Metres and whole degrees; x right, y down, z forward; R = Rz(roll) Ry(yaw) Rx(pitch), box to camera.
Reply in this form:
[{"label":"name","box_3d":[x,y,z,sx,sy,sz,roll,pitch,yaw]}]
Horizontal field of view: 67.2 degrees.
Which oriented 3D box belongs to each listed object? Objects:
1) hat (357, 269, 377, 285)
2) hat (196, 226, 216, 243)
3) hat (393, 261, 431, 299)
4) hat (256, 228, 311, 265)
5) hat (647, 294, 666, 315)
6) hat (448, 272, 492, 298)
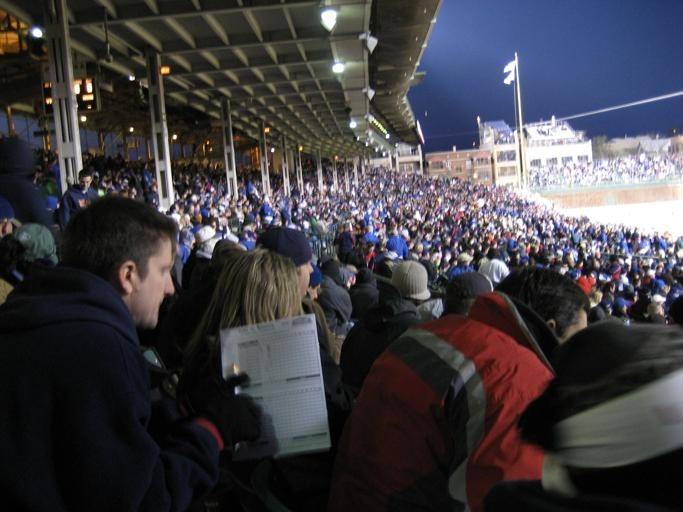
[{"label":"hat","box_3d":[0.267,0.243,5.886,0.215,0.212,0.479,-1,7,1]},{"label":"hat","box_3d":[-1.994,-0.261,7.491,0.328,0.199,0.454,-16,2,-11]},{"label":"hat","box_3d":[0.615,0.236,4.448,0.346,0.377,0.302,-3,6,-15]},{"label":"hat","box_3d":[-0.362,-0.089,3.284,0.243,0.185,0.266,11,9,6]},{"label":"hat","box_3d":[6.550,1.010,10.689,0.373,0.414,0.243,23,62,37]},{"label":"hat","box_3d":[0.876,0.196,3.536,0.322,0.204,0.254,1,0,0]}]
